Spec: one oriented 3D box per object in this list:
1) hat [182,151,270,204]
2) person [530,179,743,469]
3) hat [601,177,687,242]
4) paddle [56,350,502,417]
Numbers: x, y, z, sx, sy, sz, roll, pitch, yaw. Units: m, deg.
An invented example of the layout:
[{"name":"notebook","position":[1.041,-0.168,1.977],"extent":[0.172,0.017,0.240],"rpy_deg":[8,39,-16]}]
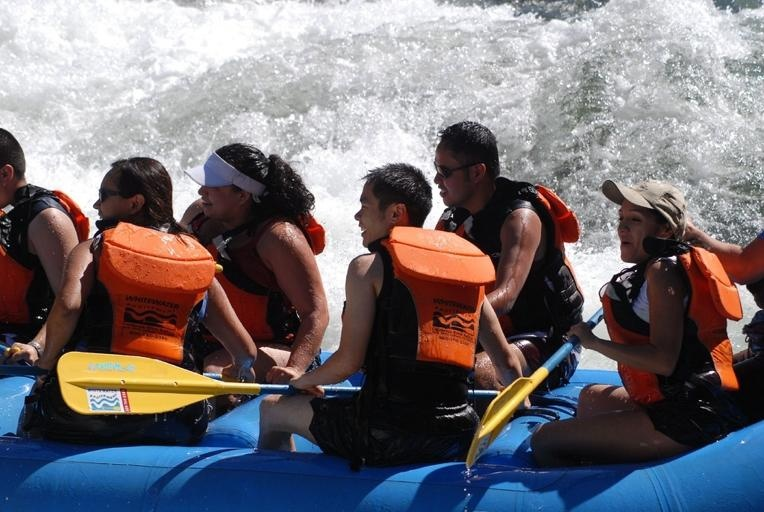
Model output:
[{"name":"hat","position":[-0.930,-0.469,4.704],"extent":[0.368,0.126,0.253],"rpy_deg":[23,3,-15]},{"name":"person","position":[1.372,0.420,5.026],"extent":[1.439,2.156,1.138],"rpy_deg":[1,-2,17]},{"name":"hat","position":[1.462,-0.303,4.251],"extent":[0.408,0.200,0.270],"rpy_deg":[30,2,10]},{"name":"paddle","position":[-0.531,0.675,3.920],"extent":[2.059,0.087,0.348],"rpy_deg":[4,45,-2]}]
